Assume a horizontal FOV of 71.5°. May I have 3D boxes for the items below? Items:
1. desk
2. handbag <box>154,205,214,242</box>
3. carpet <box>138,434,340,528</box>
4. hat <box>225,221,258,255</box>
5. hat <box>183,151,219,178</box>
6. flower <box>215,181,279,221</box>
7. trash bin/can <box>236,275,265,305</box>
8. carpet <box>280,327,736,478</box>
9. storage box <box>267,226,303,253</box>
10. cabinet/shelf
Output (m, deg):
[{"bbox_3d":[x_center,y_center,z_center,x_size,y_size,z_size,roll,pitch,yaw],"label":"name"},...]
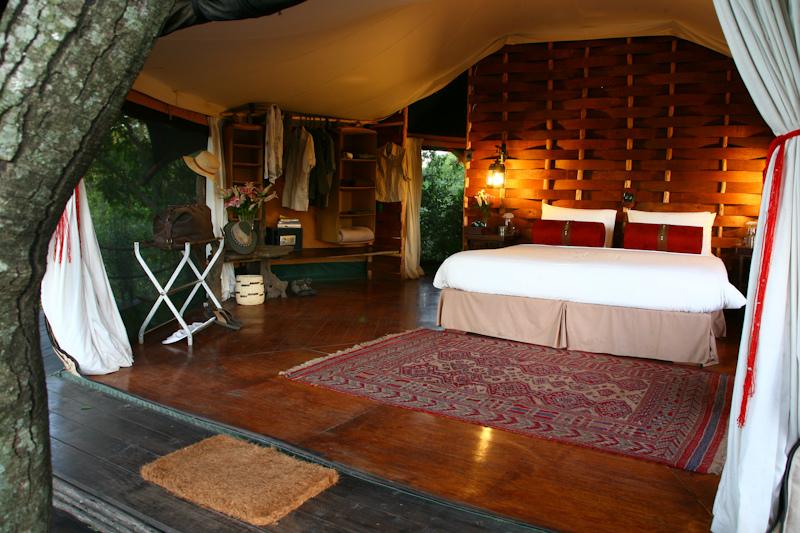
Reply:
[{"bbox_3d":[-2.096,0.185,5.356,0.641,0.813,0.890,15,10,3],"label":"desk"},{"bbox_3d":[-1.988,-0.403,5.150,0.331,0.223,0.500,2,8,17],"label":"handbag"},{"bbox_3d":[-0.825,1.067,2.835,0.874,0.048,0.544,7,11,31],"label":"carpet"},{"bbox_3d":[-1.931,-0.350,6.632,0.380,0.402,0.320,-3,13,-23],"label":"hat"},{"bbox_3d":[-2.307,-1.168,6.355,0.174,0.312,0.412,11,15,37],"label":"hat"},{"bbox_3d":[-1.919,-0.816,6.846,0.714,0.364,0.662,-5,8,-31],"label":"flower"},{"bbox_3d":[-1.824,0.286,6.724,0.419,0.306,0.369,0,-1,12],"label":"trash bin/can"},{"bbox_3d":[0.942,0.869,4.202,2.696,0.056,1.732,6,10,27],"label":"carpet"},{"bbox_3d":[-1.633,-0.401,7.841,0.724,0.302,0.435,-3,1,-20],"label":"storage box"},{"bbox_3d":[-1.275,-0.968,7.917,3.266,2.206,0.987,-2,5,-28],"label":"cabinet/shelf"}]
